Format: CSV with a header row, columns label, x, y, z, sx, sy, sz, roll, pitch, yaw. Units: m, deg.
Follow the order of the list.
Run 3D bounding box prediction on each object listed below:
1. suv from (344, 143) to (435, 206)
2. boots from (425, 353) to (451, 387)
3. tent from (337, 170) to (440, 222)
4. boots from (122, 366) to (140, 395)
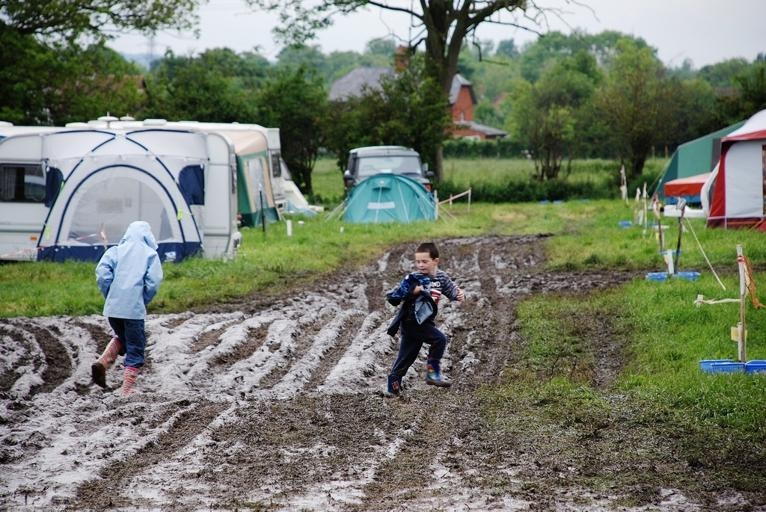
label,x,y,z,sx,sy,sz,roll,pitch,yaw
suv,0.242,-2.807,42.932,2.399,2.122,4.095,-1,2,-8
boots,1.309,2.636,28.379,0.680,0.717,0.329,10,22,26
tent,0.244,-1.920,41.335,3.037,1.672,1.019,1,14,-9
boots,-5.859,2.880,28.709,0.357,0.547,0.621,0,15,-11
